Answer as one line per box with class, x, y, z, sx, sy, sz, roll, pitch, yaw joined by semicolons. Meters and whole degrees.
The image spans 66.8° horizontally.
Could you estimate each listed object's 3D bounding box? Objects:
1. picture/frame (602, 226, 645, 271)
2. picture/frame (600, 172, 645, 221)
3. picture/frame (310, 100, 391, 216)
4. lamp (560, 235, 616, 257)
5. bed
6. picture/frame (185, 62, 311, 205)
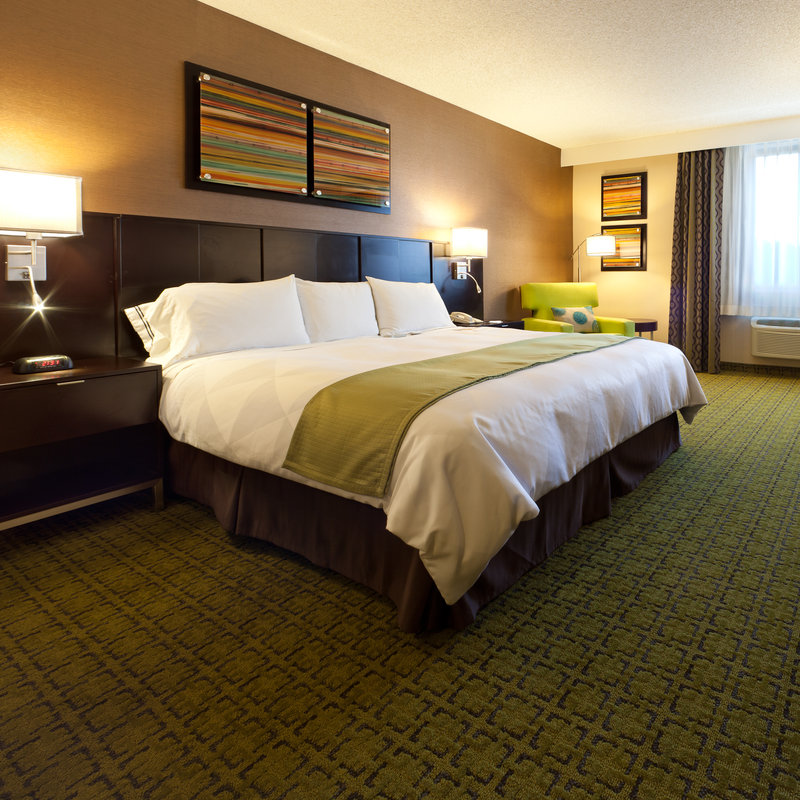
picture/frame;2.411;-1.650;6.541;0.477;0.510;0.033;6;11;44
picture/frame;2.391;-2.199;6.509;0.493;0.523;0.038;9;19;41
picture/frame;-0.304;-1.611;4.097;0.724;0.614;0.039;22;34;26
lamp;2.013;-1.633;6.440;0.217;0.232;0.524;1;-2;-23
bed;-0.142;0.082;2.548;1.752;1.271;2.071;4;9;36
picture/frame;-0.882;-1.510;3.426;0.049;0.700;0.956;4;6;41
